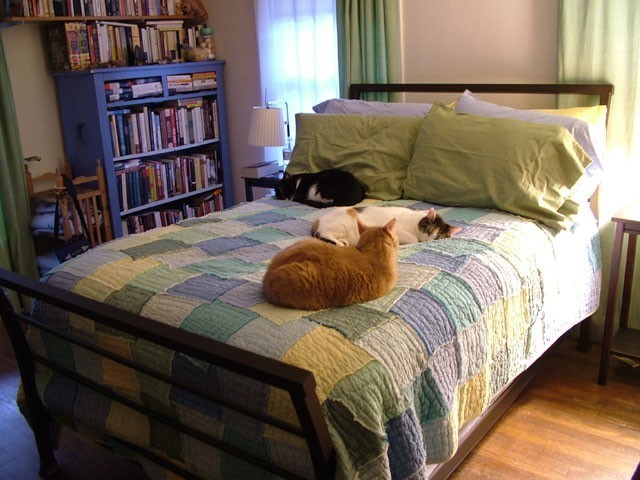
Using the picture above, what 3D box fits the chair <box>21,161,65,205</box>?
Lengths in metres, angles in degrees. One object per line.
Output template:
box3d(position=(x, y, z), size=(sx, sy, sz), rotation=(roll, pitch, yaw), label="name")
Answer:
box3d(position=(-1.887, -0.374, 3.281), size=(0.195, 0.322, 0.220), rotation=(17, 28, 31), label="chair")

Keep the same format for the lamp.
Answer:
box3d(position=(-0.337, -0.752, 3.475), size=(0.271, 0.370, 0.267), rotation=(-16, 25, -28), label="lamp")

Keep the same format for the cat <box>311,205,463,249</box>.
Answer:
box3d(position=(0.262, -0.071, 2.146), size=(0.421, 0.135, 0.269), rotation=(4, 8, 14), label="cat")

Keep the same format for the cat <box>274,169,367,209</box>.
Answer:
box3d(position=(-0.003, -0.292, 2.680), size=(0.341, 0.121, 0.245), rotation=(4, 11, 21), label="cat")

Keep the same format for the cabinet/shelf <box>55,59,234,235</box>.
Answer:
box3d(position=(-1.324, -0.705, 3.537), size=(0.372, 1.444, 1.084), rotation=(10, 22, 31), label="cabinet/shelf")

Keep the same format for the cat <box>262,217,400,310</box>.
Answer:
box3d(position=(0.028, 0.056, 1.608), size=(0.374, 0.206, 0.237), rotation=(-11, 19, -28), label="cat")
